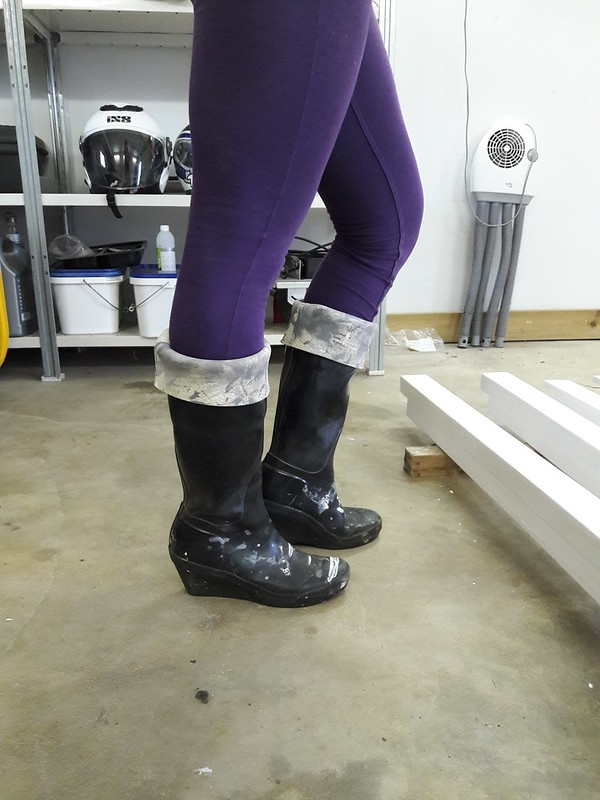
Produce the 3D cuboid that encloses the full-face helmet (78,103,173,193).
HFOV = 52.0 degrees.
[{"bbox_3d":[-0.510,-0.767,1.881,0.251,0.230,0.285,-1,25,-6],"label":"full-face helmet"}]

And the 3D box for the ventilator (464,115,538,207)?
[{"bbox_3d":[0.768,-0.882,2.302,0.230,0.293,0.078,7,16,5],"label":"ventilator"}]
